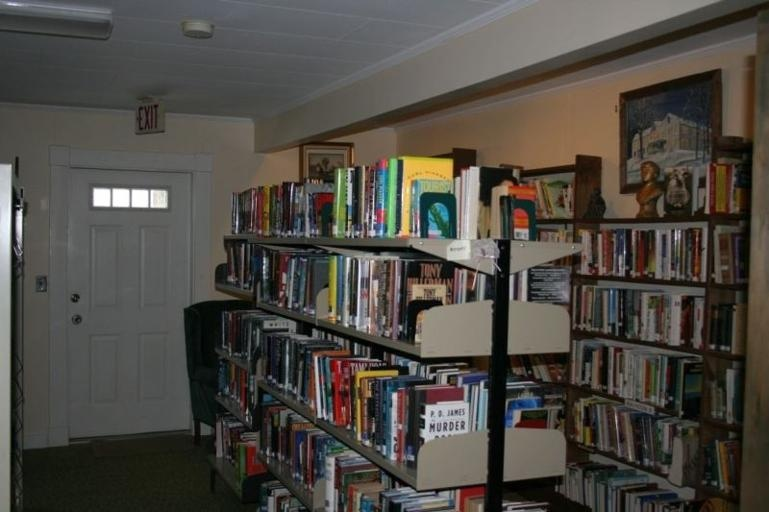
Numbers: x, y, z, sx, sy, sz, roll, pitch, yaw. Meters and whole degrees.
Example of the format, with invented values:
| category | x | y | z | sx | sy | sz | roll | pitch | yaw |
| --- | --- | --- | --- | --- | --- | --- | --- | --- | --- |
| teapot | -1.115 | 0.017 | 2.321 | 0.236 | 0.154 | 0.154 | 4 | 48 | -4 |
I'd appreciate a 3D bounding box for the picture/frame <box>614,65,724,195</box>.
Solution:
| category | x | y | z | sx | sy | sz | roll | pitch | yaw |
| --- | --- | --- | --- | --- | --- | --- | --- | --- | --- |
| picture/frame | 2.093 | -0.917 | 4.623 | 0.075 | 0.995 | 0.997 | 2 | -3 | -28 |
